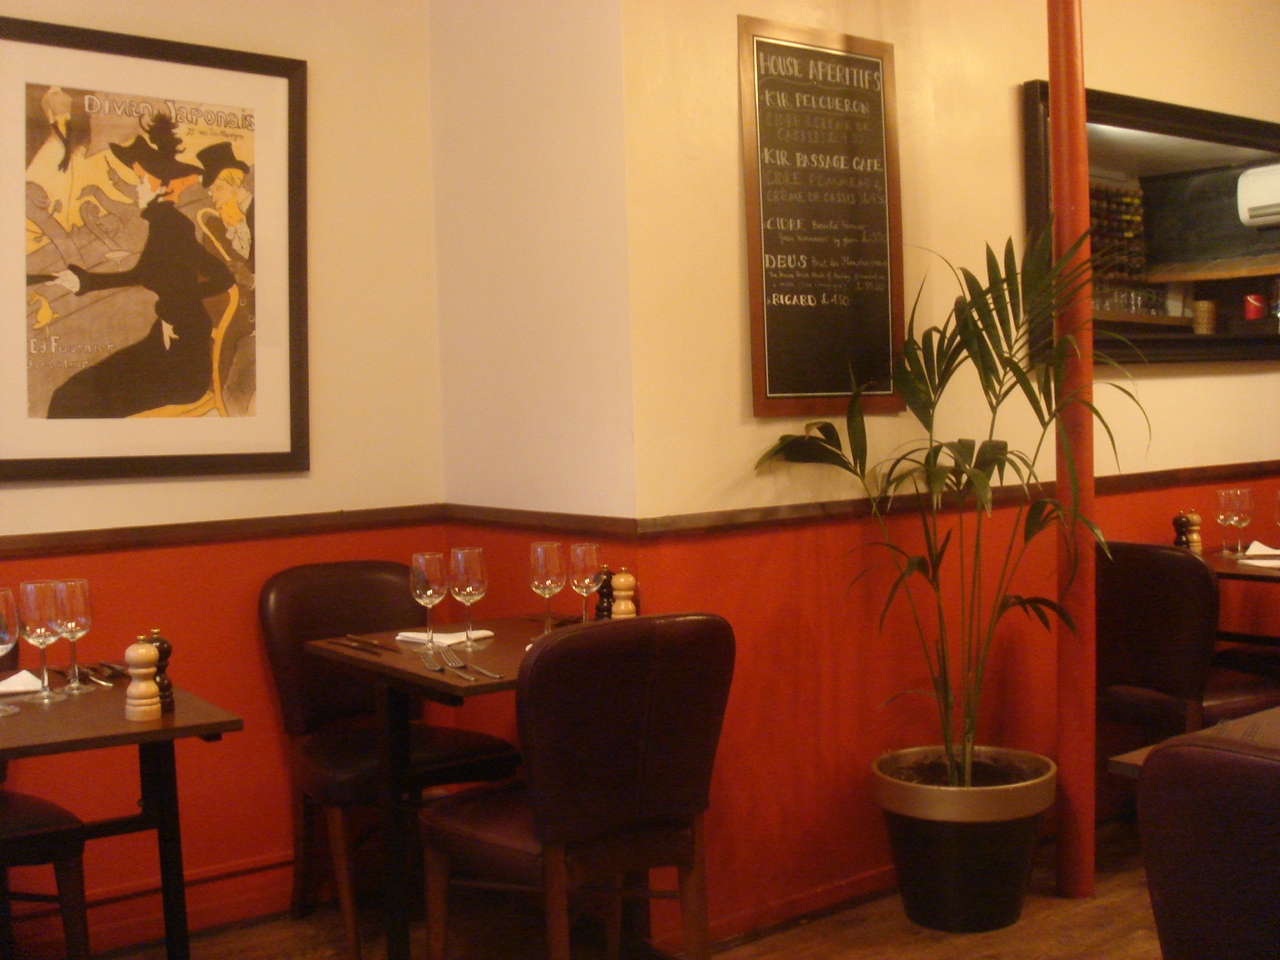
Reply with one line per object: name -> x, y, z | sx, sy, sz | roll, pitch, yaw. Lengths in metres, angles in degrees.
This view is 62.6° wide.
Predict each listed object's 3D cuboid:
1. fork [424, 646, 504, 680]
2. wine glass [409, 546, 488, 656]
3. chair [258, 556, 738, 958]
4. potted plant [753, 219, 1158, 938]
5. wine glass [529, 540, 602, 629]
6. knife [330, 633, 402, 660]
fork -> -0.494, 0.453, 2.824 | 0.087, 0.063, 0.417 | -9, 4, -25
wine glass -> -0.594, 0.372, 3.248 | 0.281, 0.405, 0.140 | 0, -4, -14
chair -> -0.716, 0.842, 3.262 | 0.639, 1.182, 1.143 | -8, 8, -32
potted plant -> 1.154, 0.292, 3.541 | 1.176, 2.212, 0.779 | -10, 9, -43
wine glass -> -0.220, 0.310, 3.187 | 0.237, 0.372, 0.127 | 0, 2, -1
knife -> -0.808, 0.480, 3.094 | 0.091, 0.023, 0.356 | 1, 1, -28
